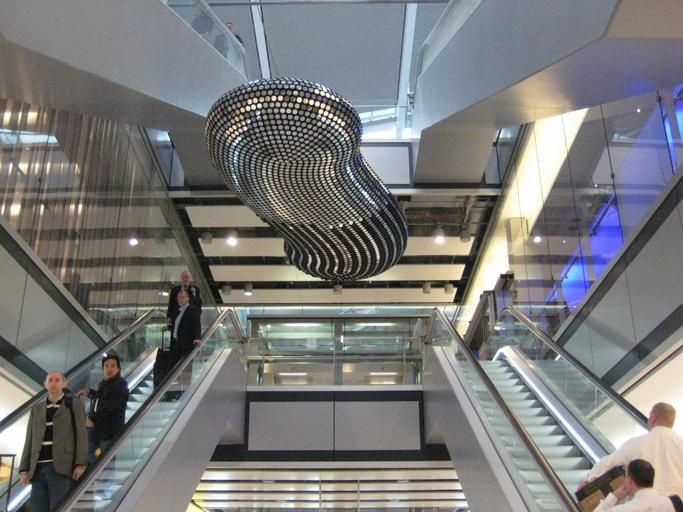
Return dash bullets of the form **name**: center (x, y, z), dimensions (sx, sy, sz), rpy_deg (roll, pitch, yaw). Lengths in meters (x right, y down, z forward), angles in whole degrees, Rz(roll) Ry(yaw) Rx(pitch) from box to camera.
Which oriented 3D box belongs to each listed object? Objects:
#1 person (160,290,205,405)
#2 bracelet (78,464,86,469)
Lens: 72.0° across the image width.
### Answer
- **person**: center (-2.466, 1.238, 7.080), dimensions (0.667, 0.489, 1.578), rpy_deg (19, -65, 3)
- **bracelet**: center (-2.145, 1.746, 3.868), dimensions (0.056, 0.041, 0.017), rpy_deg (-11, -32, -19)
